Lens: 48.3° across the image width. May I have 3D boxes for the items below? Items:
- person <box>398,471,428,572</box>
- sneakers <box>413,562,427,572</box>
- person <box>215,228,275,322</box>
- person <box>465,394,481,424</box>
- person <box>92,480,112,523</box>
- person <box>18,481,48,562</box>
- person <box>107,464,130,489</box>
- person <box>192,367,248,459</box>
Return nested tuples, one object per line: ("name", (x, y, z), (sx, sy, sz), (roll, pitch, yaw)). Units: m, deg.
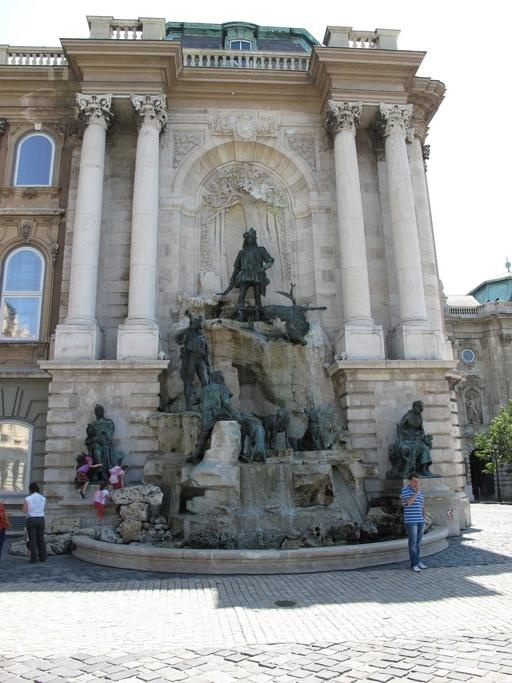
("person", (2.661, 3.026, 9.640), (0.338, 1.537, 0.376), (-4, -13, 14))
("sneakers", (2.736, 3.768, 9.581), (0.128, 0.133, 0.336), (-6, -21, 23))
("person", (-0.203, -2.244, 19.028), (1.375, 3.250, 0.740), (-5, -13, 19))
("person", (16.945, 5.260, 44.554), (1.021, 2.358, 0.593), (1, -12, -5))
("person", (-3.812, 3.950, 14.045), (0.356, 0.805, 1.098), (3, -11, -16))
("person", (-4.224, 3.433, 10.929), (0.467, 1.470, 0.825), (4, -13, -18))
("person", (-3.633, 3.506, 14.944), (0.454, 0.605, 0.894), (2, -11, -11))
("person", (-0.927, 1.635, 12.813), (1.102, 2.089, 0.933), (-2, -12, 8))
